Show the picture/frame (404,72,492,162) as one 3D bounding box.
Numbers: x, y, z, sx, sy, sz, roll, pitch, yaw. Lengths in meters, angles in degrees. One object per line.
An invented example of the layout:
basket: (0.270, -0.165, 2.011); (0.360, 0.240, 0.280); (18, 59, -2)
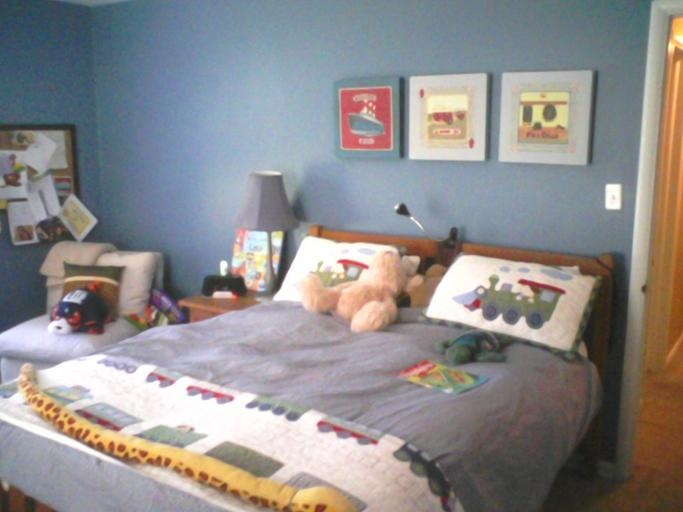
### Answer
picture/frame: (0.642, -0.815, 3.166); (0.511, 0.536, 0.066); (4, 8, 33)

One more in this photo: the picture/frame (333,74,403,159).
picture/frame: (0.186, -0.879, 3.397); (0.532, 0.536, 0.058); (1, 8, 32)

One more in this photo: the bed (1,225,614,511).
bed: (0.566, 0.150, 3.464); (2.023, 1.236, 2.055); (8, 17, 25)

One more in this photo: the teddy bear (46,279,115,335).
teddy bear: (-1.759, 0.368, 3.685); (0.364, 0.278, 0.481); (6, 20, 9)

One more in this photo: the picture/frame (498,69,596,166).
picture/frame: (1.122, -0.750, 2.916); (0.495, 0.520, 0.051); (6, 13, 31)

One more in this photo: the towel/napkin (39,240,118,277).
towel/napkin: (-2.000, 0.005, 4.054); (0.321, 0.105, 0.340); (5, 40, 1)

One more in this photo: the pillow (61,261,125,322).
pillow: (-1.688, 0.261, 3.733); (0.374, 0.392, 0.133); (1, -8, 5)

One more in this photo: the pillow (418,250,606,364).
pillow: (0.860, 0.229, 2.766); (0.779, 0.347, 0.408); (8, 14, 27)
